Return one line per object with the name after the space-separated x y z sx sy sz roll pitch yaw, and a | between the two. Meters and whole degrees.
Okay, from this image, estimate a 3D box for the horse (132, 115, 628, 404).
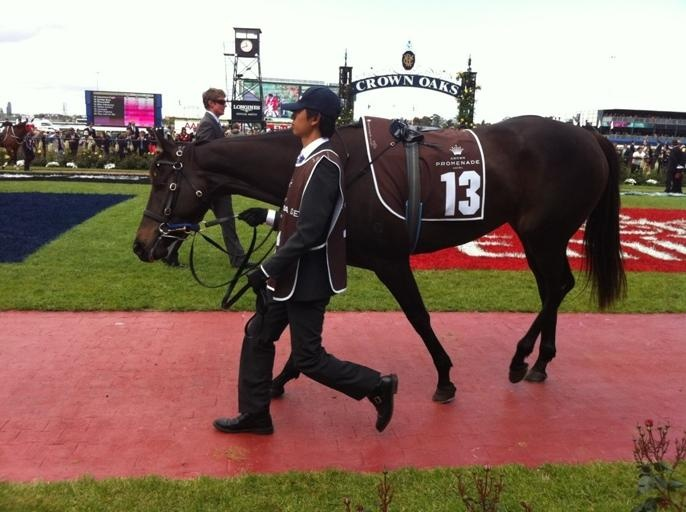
0.579 0.099 5.613 4.368 2.776 1.011 -5 11 -8 | horse

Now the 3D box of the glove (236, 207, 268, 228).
-0.680 -0.317 4.752 0.180 0.150 0.070 -4 24 7 | glove

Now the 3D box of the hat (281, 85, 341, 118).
-0.210 -1.145 4.513 0.470 0.249 0.308 6 1 -6 | hat

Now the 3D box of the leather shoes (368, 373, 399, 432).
0.322 1.107 4.774 0.230 0.520 0.166 1 3 -16 | leather shoes

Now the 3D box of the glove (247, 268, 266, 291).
-0.599 0.164 4.374 0.144 0.202 0.189 -2 12 -10 | glove

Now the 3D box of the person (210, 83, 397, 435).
-0.279 0.074 4.595 1.299 2.635 0.612 -1 11 -6 | person
